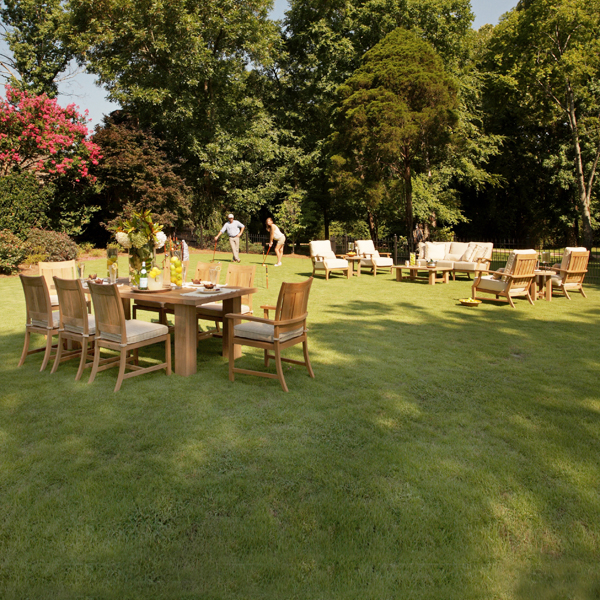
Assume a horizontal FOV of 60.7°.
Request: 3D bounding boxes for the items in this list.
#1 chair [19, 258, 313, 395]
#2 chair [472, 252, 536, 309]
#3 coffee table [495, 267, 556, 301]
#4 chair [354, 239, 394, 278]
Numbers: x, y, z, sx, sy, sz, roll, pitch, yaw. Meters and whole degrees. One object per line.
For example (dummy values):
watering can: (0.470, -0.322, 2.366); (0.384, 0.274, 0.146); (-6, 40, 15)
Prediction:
chair: (-1.416, 0.308, 5.797); (3.066, 1.190, 1.475); (0, 9, -1)
chair: (4.460, -0.434, 11.286); (1.188, 1.461, 1.317); (-1, 3, -43)
coffee table: (5.376, -0.348, 11.847); (1.012, 0.676, 1.052); (-1, 4, 10)
chair: (2.645, -1.583, 19.023); (1.263, 1.577, 1.584); (-6, 11, -43)
